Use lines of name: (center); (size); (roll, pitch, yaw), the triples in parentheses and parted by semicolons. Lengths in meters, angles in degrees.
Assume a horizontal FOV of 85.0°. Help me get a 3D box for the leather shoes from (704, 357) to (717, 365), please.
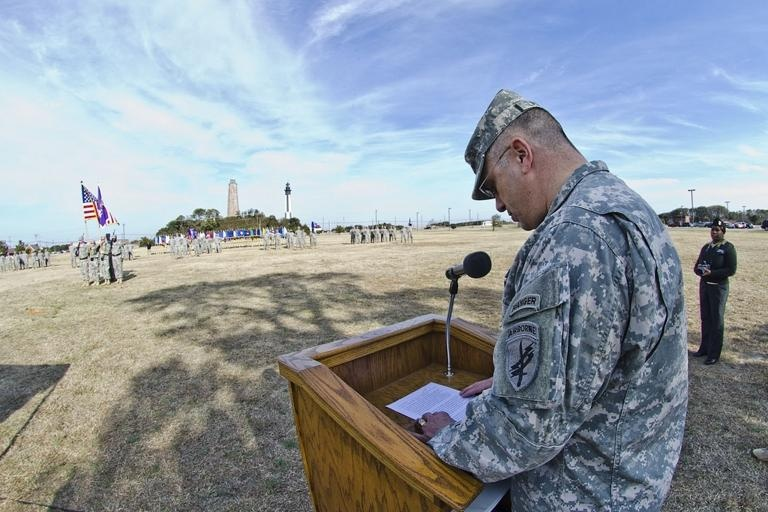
leather shoes: (4.376, 1.394, 5.619); (0.187, 0.078, 0.068); (1, -40, -21)

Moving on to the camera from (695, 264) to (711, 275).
camera: (4.650, 0.197, 6.109); (0.135, 0.196, 0.150); (6, -5, 38)

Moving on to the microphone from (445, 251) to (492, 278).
microphone: (0.504, 0.063, 2.573); (0.142, 0.132, 0.372); (26, -24, -21)

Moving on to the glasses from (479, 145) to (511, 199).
glasses: (0.536, -0.433, 2.115); (0.054, 0.193, 0.184); (32, 21, 23)

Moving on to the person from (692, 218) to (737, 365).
person: (4.711, 0.417, 5.998); (0.447, 1.911, 1.360); (4, 9, 39)
